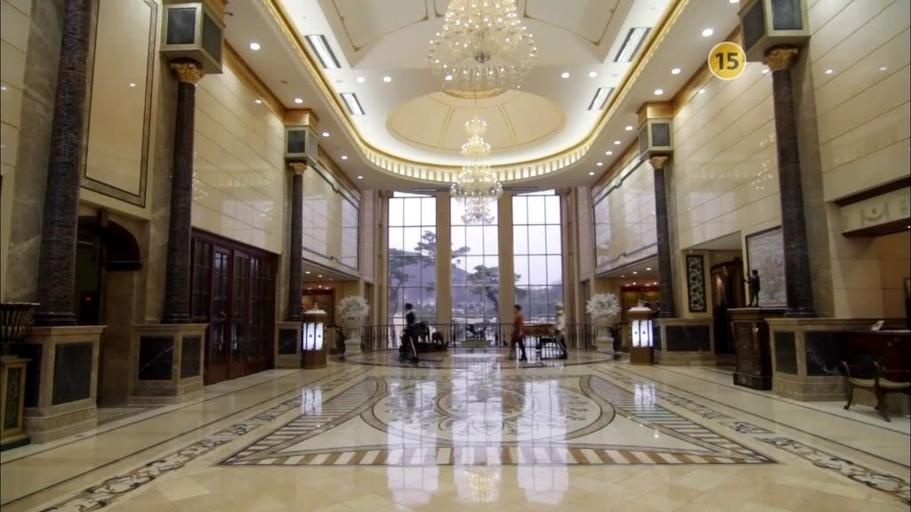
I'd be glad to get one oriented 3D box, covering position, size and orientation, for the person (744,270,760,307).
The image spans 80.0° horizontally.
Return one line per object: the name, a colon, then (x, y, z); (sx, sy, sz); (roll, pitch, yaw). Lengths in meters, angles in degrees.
person: (7.331, 0.810, 13.465); (0.240, 0.915, 1.395); (1, 4, 27)
